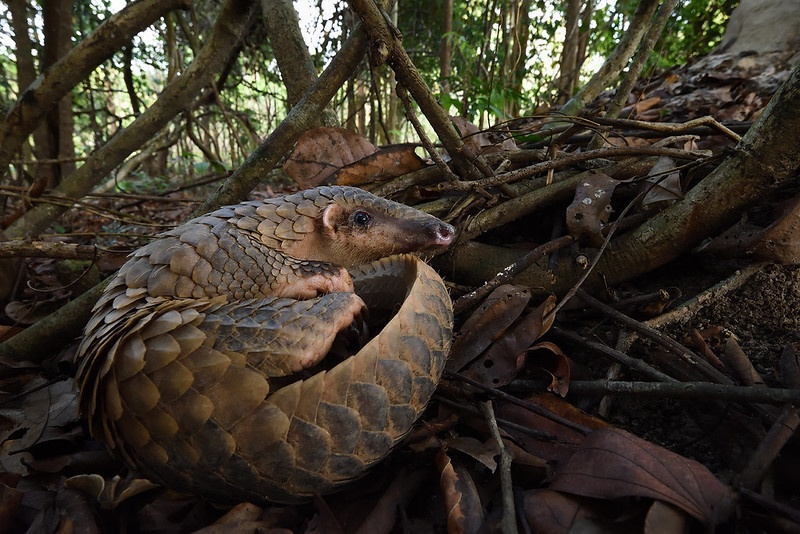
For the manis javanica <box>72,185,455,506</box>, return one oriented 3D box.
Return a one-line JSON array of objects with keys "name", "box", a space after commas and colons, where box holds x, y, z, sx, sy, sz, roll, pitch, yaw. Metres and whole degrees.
[{"name": "manis javanica", "box": [-0.486, 0.295, 2.723, 1.452, 1.123, 0.722, -10, 13, -26]}]
